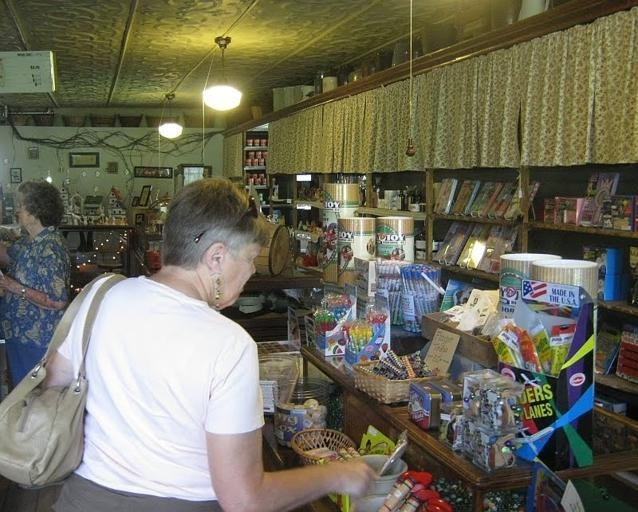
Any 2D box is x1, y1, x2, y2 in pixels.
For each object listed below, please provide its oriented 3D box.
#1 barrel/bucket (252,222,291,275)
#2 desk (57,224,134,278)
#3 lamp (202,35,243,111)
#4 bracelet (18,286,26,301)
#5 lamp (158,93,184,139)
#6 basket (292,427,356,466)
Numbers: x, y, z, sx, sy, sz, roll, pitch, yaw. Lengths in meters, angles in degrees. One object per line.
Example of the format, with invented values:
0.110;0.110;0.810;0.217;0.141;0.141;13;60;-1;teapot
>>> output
-0.290;-0.051;4.085;0.420;0.436;0.435;1;-5;0;barrel/bucket
-3.604;-0.098;8.082;1.123;0.995;0.870;-6;25;-30;desk
-1.112;-2.093;5.690;0.548;0.742;0.545;-2;12;-22;lamp
-1.876;0.232;3.118;0.044;0.061;0.015;6;2;-3;bracelet
-2.835;-2.704;9.452;0.565;0.753;0.564;-1;-6;-18;lamp
0.003;0.680;1.753;0.165;0.060;0.164;-4;14;-34;basket
